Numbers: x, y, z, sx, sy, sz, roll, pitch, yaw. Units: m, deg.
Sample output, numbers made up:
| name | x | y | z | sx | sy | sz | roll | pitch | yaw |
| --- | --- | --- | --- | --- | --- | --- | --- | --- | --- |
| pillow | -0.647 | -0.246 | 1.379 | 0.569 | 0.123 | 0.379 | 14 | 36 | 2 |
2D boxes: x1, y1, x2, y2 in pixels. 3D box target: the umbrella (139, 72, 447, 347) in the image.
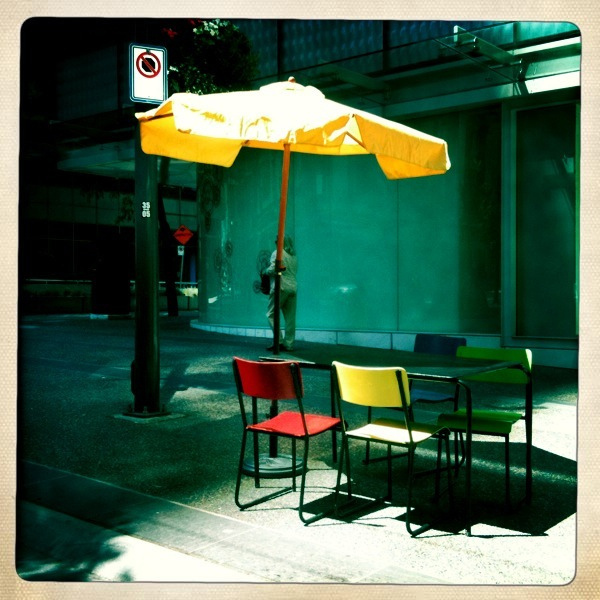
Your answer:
| name | x | y | z | sx | sy | sz | roll | pitch | yaw |
| --- | --- | --- | --- | --- | --- | --- | --- | --- | --- |
| umbrella | -0.099 | -0.781 | 6.200 | 2.258 | 2.014 | 2.062 | -4 | 5 | -41 |

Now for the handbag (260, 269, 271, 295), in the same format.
| name | x | y | z | sx | sy | sz | roll | pitch | yaw |
| --- | --- | --- | --- | --- | --- | --- | --- | --- | --- |
| handbag | -0.327 | -0.168 | 7.245 | 0.175 | 0.236 | 0.146 | 0 | -1 | -4 |

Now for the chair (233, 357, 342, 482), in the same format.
| name | x | y | z | sx | sy | sz | roll | pitch | yaw |
| --- | --- | --- | --- | --- | --- | --- | --- | --- | --- |
| chair | -0.084 | 0.877 | 5.616 | 0.562 | 1.050 | 0.742 | 3 | 9 | 32 |

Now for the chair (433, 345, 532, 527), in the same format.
| name | x | y | z | sx | sy | sz | roll | pitch | yaw |
| --- | --- | --- | --- | --- | --- | --- | --- | --- | --- |
| chair | 1.414 | 1.008 | 5.822 | 0.762 | 1.219 | 0.844 | 1 | 0 | 0 |

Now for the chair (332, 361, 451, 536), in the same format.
| name | x | y | z | sx | sy | sz | roll | pitch | yaw |
| --- | --- | --- | --- | --- | --- | --- | --- | --- | --- |
| chair | 0.675 | 0.993 | 5.329 | 0.737 | 1.174 | 0.708 | -6 | 6 | -40 |

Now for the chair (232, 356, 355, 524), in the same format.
| name | x | y | z | sx | sy | sz | roll | pitch | yaw |
| --- | --- | --- | --- | --- | --- | --- | --- | --- | --- |
| chair | -0.043 | 0.963 | 5.604 | 0.632 | 1.203 | 0.790 | 1 | 5 | 40 |
